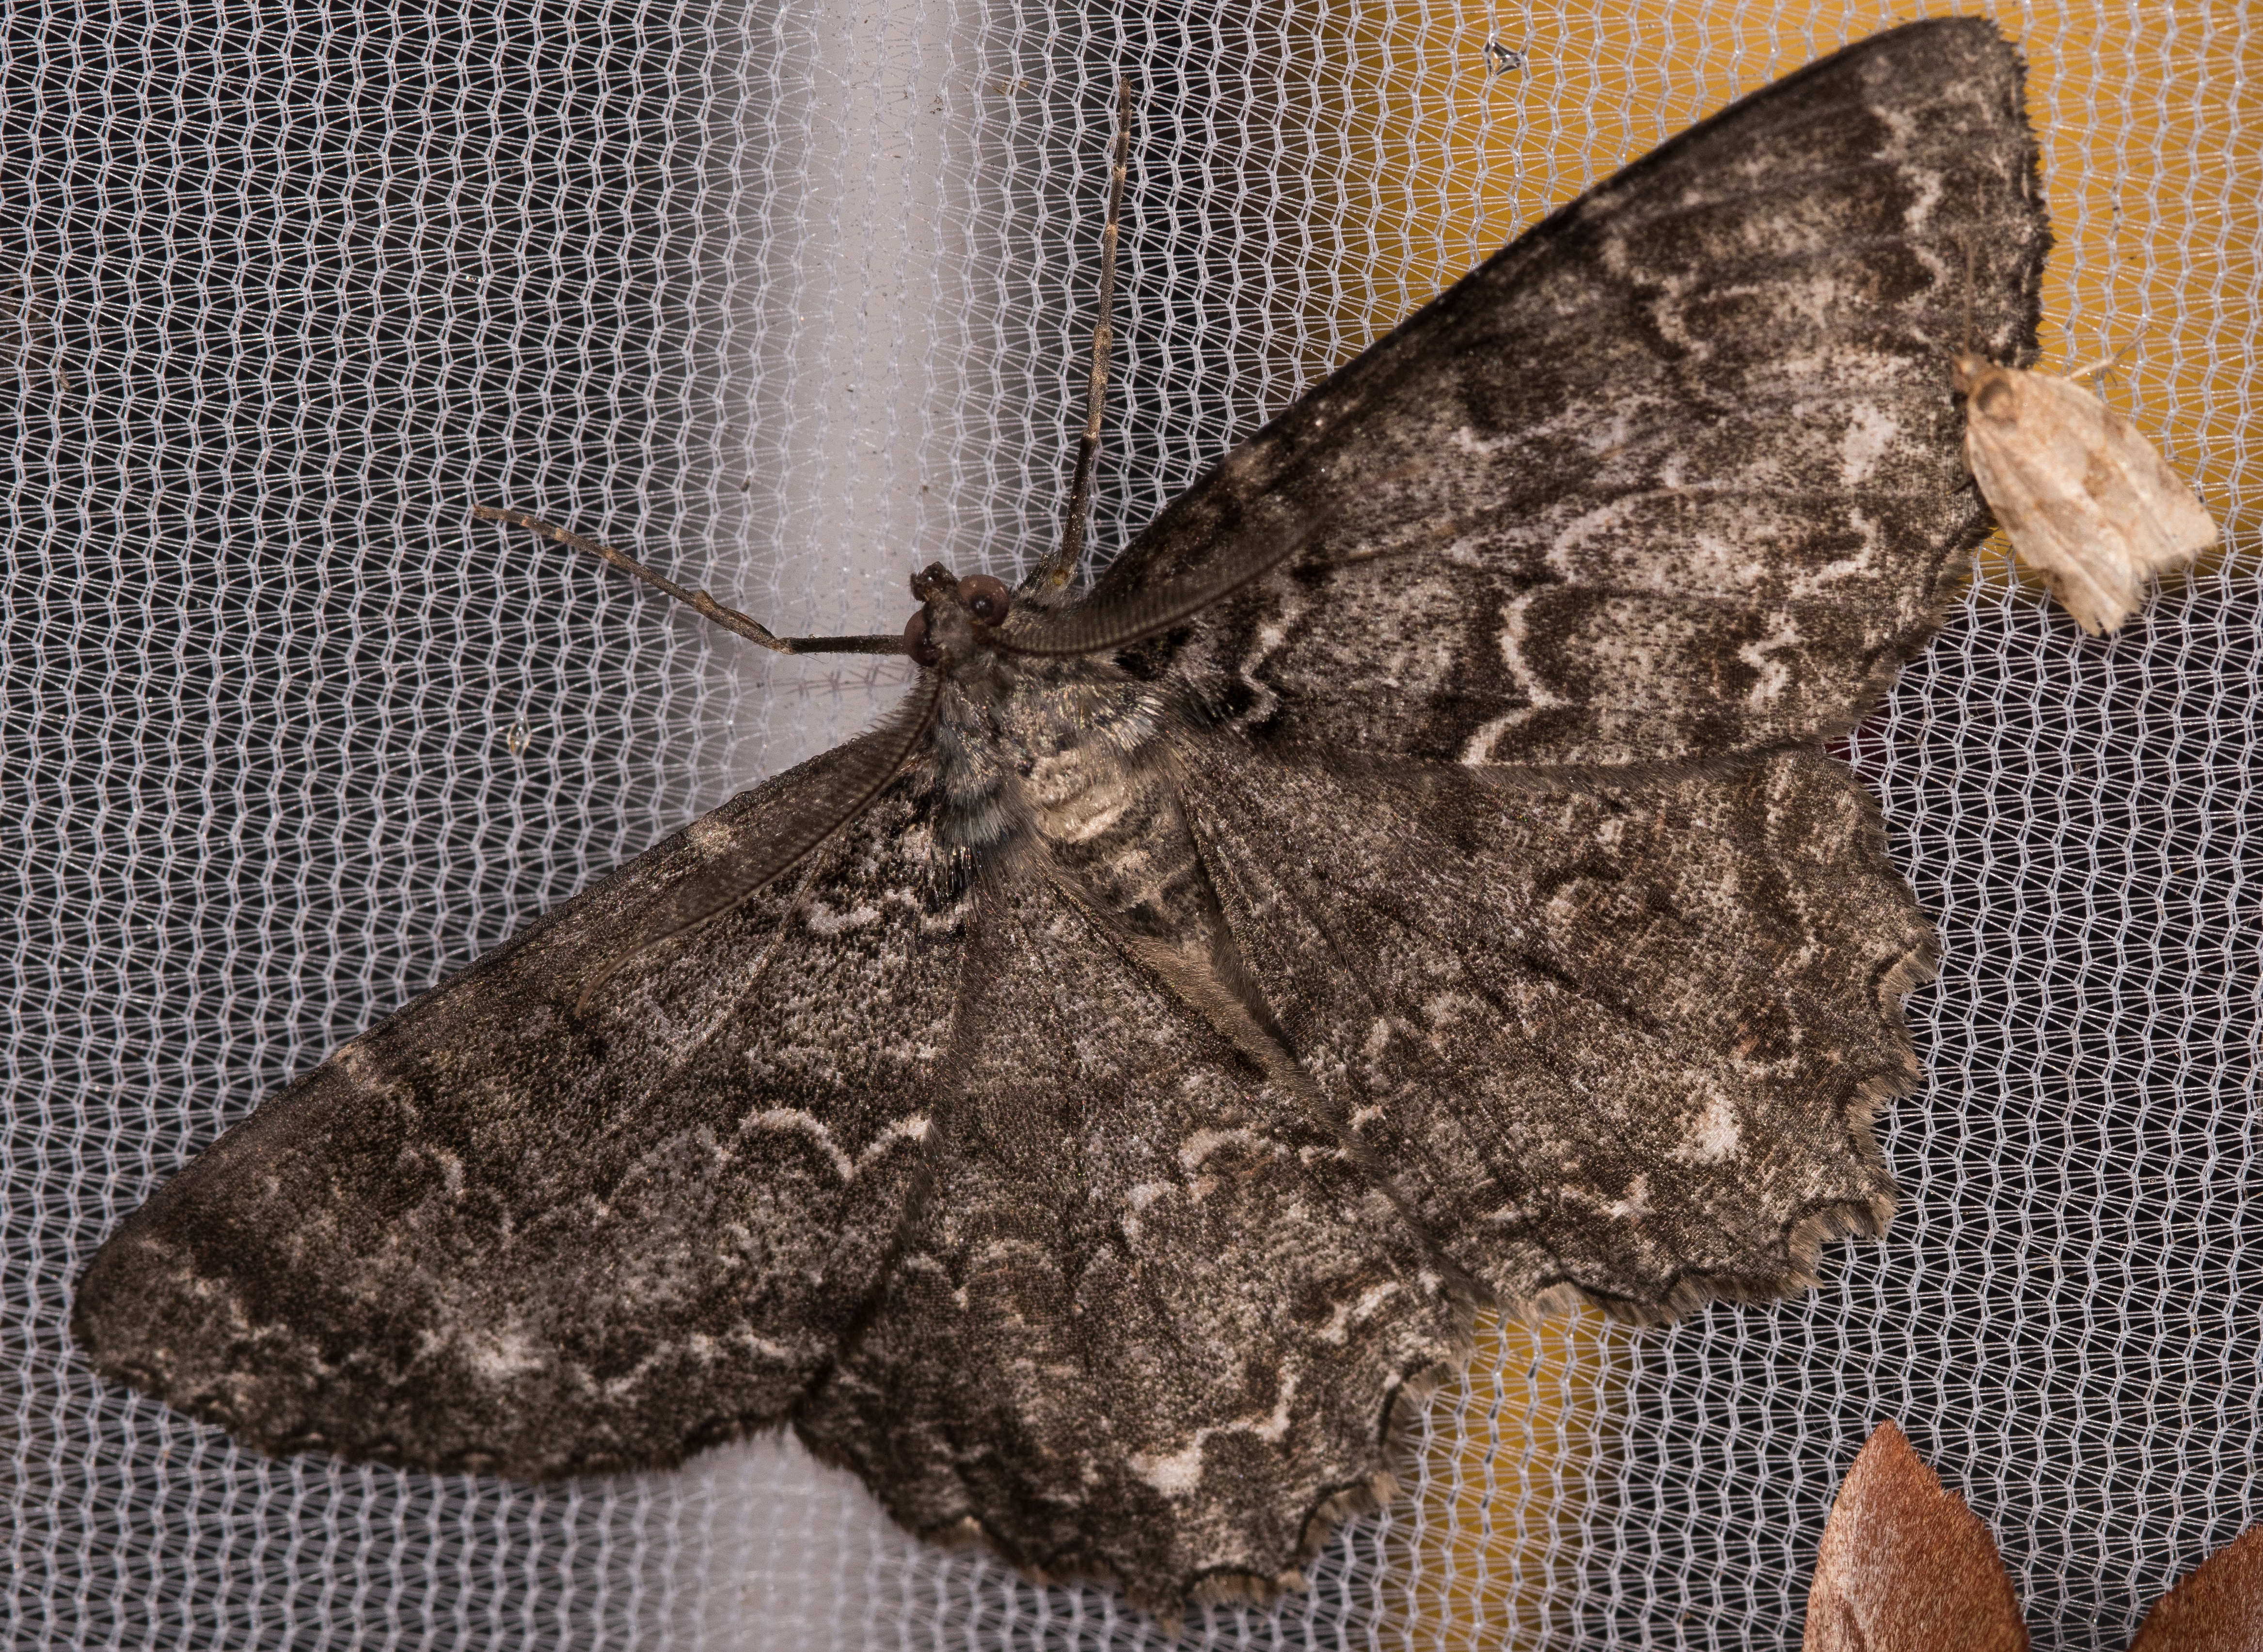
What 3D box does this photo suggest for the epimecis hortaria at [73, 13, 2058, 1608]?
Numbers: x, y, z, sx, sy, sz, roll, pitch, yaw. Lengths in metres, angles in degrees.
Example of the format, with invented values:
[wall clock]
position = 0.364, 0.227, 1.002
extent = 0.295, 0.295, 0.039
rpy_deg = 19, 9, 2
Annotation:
[epimecis hortaria]
position = 0.140, 0.092, 3.655
extent = 0.986, 0.402, 1.850
rpy_deg = 45, 90, 7

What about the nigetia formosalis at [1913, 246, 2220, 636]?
[nigetia formosalis]
position = 0.833, -0.329, 3.648
extent = 0.238, 0.085, 0.326
rpy_deg = -40, 103, 11
